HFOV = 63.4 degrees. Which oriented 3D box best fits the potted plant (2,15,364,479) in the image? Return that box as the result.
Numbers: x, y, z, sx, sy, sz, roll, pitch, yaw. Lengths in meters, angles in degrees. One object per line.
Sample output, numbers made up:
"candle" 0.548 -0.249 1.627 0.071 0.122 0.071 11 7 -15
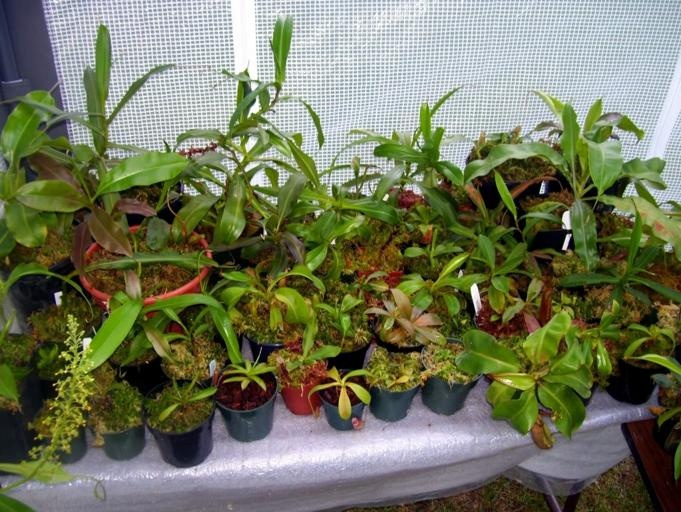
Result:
"potted plant" -0.617 -0.094 1.839 1.042 1.279 0.960 -5 33 -18
